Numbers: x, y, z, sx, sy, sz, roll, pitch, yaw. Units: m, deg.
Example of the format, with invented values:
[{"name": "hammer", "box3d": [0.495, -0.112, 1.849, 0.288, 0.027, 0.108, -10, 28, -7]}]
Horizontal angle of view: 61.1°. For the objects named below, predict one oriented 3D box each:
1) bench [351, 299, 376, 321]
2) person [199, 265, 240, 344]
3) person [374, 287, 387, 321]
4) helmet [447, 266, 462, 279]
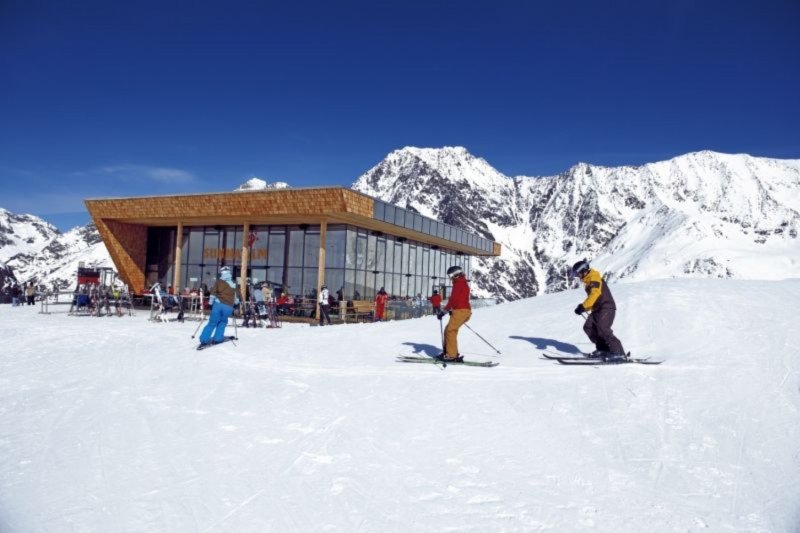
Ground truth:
[{"name": "bench", "box3d": [-1.686, 2.032, 30.707, 1.070, 0.960, 1.050, -1, 15, -4]}, {"name": "person", "box3d": [-4.936, 1.239, 18.412, 0.888, 2.144, 1.575, 0, 15, 0]}, {"name": "person", "box3d": [-0.900, 1.680, 30.086, 0.438, 1.669, 0.910, -1, 15, -3]}, {"name": "helmet", "box3d": [1.336, 0.145, 16.067, 0.256, 0.266, 0.311, -17, 17, -33]}]
